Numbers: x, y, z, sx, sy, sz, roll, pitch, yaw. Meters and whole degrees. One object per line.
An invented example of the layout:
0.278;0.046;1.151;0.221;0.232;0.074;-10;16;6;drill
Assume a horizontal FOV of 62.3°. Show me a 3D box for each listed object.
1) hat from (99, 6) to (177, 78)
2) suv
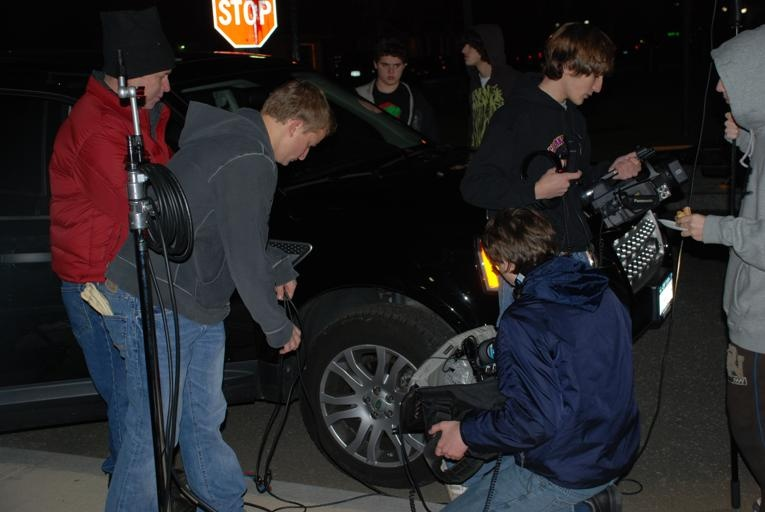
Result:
-1.215;-1.165;3.149;0.320;0.378;0.223;-5;15;-25;hat
-0.810;-0.104;4.278;5.127;2.018;2.432;1;20;25;suv
